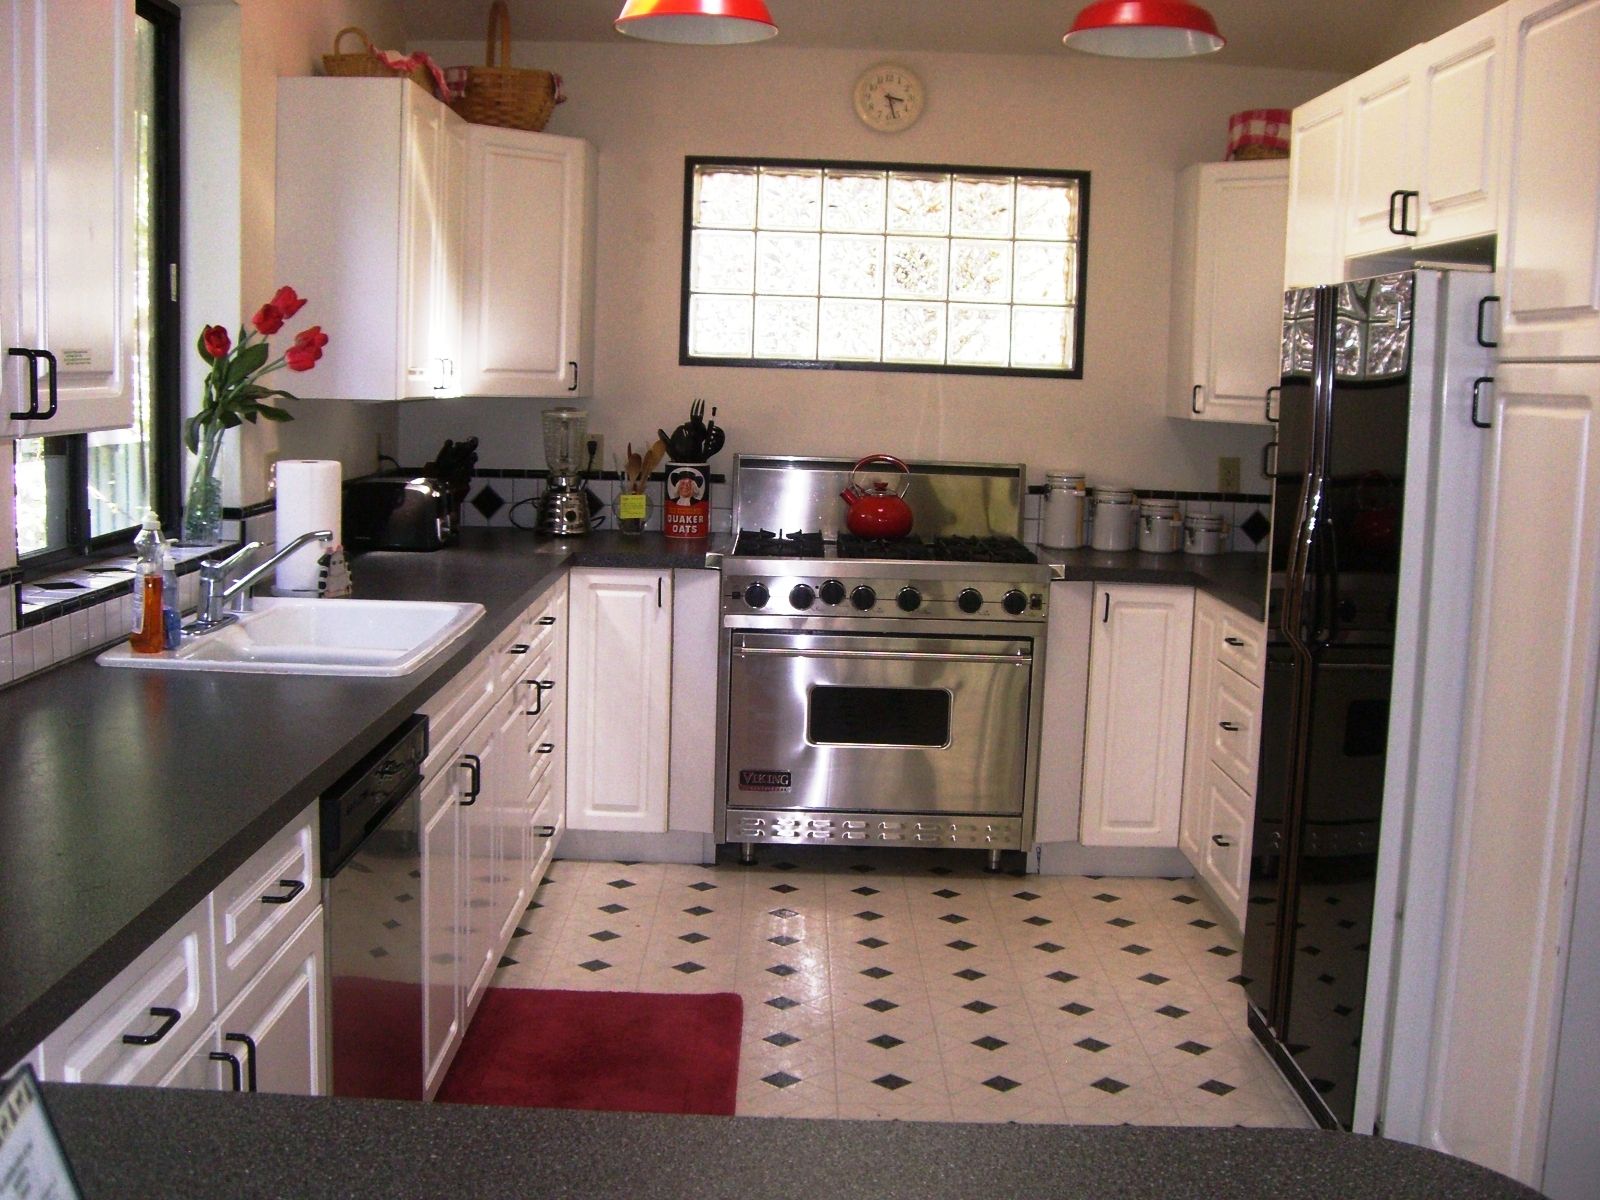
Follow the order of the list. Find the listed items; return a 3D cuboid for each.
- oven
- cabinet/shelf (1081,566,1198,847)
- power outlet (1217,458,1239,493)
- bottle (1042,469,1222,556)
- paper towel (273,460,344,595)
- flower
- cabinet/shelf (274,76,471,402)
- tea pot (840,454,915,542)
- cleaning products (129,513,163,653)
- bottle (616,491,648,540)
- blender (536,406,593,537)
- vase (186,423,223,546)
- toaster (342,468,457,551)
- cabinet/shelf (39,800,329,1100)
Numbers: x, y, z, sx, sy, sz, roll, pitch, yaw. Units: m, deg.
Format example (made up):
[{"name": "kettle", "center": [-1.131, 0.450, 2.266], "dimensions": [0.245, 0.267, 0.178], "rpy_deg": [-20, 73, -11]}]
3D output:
[{"name": "oven", "center": [0.324, 0.593, 4.706], "dimensions": [1.116, 0.827, 0.786], "rpy_deg": [2, -19, 8]}, {"name": "cabinet/shelf", "center": [1.153, 0.387, 4.486], "dimensions": [0.342, 0.886, 0.126], "rpy_deg": [3, 9, 11]}, {"name": "power outlet", "center": [1.668, -0.484, 5.082], "dimensions": [0.091, 0.138, 0.020], "rpy_deg": [0, 9, -6]}, {"name": "bottle", "center": [1.227, -0.333, 4.921], "dimensions": [0.637, 0.279, 0.337], "rpy_deg": [1, 10, 1]}, {"name": "paper towel", "center": [-1.356, -0.144, 3.588], "dimensions": [0.195, 0.364, 0.201], "rpy_deg": [1, 37, -20]}, {"name": "flower", "center": [-1.505, -0.540, 3.634], "dimensions": [0.392, 0.683, 0.608], "rpy_deg": [-2, 10, -20]}, {"name": "cabinet/shelf", "center": [-1.308, -1.087, 3.926], "dimensions": [0.368, 0.980, 1.050], "rpy_deg": [0, 7, -5]}, {"name": "tea pot", "center": [0.289, -0.381, 4.870], "dimensions": [0.314, 0.327, 0.244], "rpy_deg": [-3, 13, -14]}, {"name": "cleaning products", "center": [-1.400, -0.039, 2.816], "dimensions": [0.072, 0.280, 0.107], "rpy_deg": [-2, 10, -18]}, {"name": "bottle", "center": [-0.634, -0.339, 4.955], "dimensions": [0.101, 0.157, 0.097], "rpy_deg": [1, 9, 0]}, {"name": "blender", "center": [-0.887, -0.488, 4.926], "dimensions": [0.185, 0.457, 0.405], "rpy_deg": [-1, 10, -10]}, {"name": "vase", "center": [-1.607, -0.320, 3.535], "dimensions": [0.107, 0.304, 0.249], "rpy_deg": [-3, 10, -24]}, {"name": "toaster", "center": [-1.356, -0.301, 4.492], "dimensions": [0.350, 0.238, 0.465], "rpy_deg": [1, 8, -2]}, {"name": "cabinet/shelf", "center": [-0.823, 0.452, 1.725], "dimensions": [0.203, 0.385, 0.412], "rpy_deg": [1, 11, 3]}]
